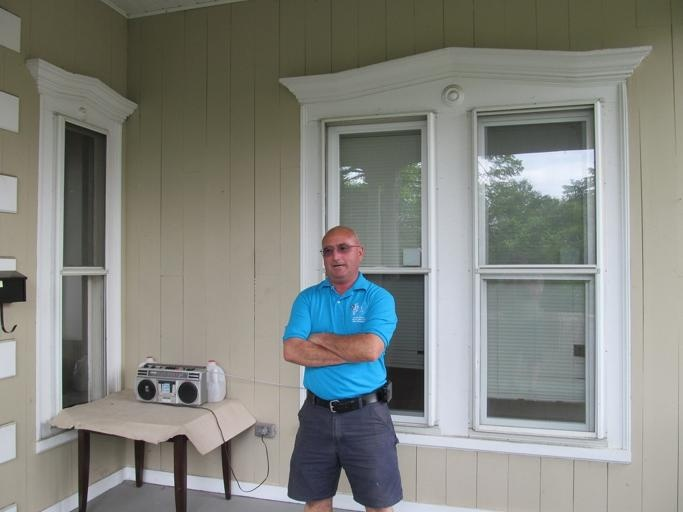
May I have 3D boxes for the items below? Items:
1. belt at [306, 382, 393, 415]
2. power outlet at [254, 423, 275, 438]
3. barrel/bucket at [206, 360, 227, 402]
[{"bbox_3d":[0.046,0.906,4.512,0.537,0.111,0.175,-2,1,-3],"label":"belt"},{"bbox_3d":[-0.590,1.334,5.399,0.167,0.086,0.023,-1,1,10],"label":"power outlet"},{"bbox_3d":[-0.997,0.973,5.459,0.198,0.311,0.187,-3,-4,0],"label":"barrel/bucket"}]
